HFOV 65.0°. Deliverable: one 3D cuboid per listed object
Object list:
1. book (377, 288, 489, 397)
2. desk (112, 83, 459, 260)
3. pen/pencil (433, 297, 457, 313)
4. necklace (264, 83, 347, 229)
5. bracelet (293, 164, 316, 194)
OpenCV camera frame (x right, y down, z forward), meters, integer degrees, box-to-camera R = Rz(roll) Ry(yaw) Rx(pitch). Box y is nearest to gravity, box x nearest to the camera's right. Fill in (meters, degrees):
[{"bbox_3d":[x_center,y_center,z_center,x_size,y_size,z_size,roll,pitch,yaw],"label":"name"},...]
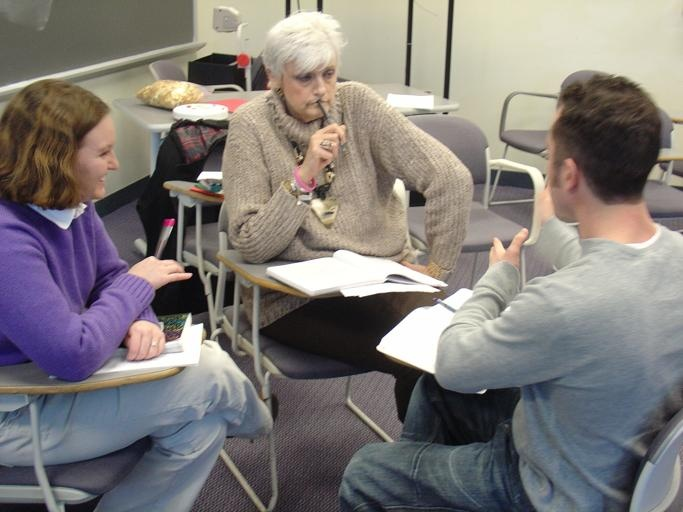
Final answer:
[{"bbox_3d":[0.214,0.175,1.326,0.248,0.059,0.311,20,35,30],"label":"book"},{"bbox_3d":[-0.043,-0.181,2.005,0.945,0.790,0.448,-14,30,-25],"label":"desk"},{"bbox_3d":[0.271,0.130,1.414,0.020,0.024,0.083,-19,19,-33],"label":"pen/pencil"},{"bbox_3d":[-0.148,-0.352,1.961,0.267,0.486,0.122,-12,-5,-30],"label":"necklace"},{"bbox_3d":[-0.125,-0.258,1.834,0.079,0.054,0.092,-5,55,-24],"label":"bracelet"}]
